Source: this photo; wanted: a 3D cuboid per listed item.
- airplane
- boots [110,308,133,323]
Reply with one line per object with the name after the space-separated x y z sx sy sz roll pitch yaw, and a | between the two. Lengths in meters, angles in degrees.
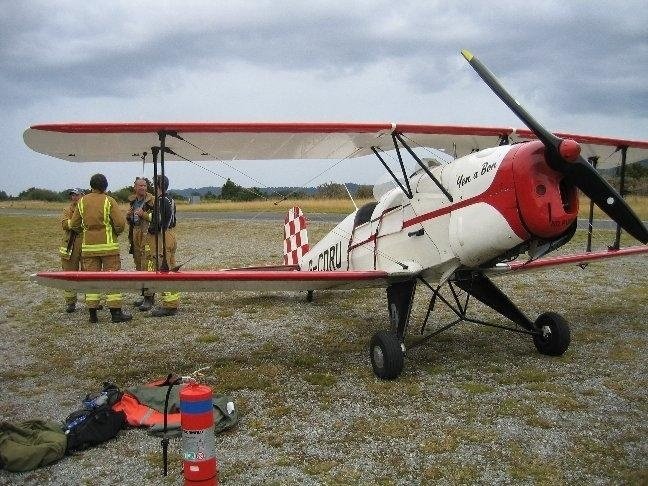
0.608 -0.298 6.453 5.399 1.753 4.344 -1 -1 -31 | airplane
-2.784 0.988 7.429 0.360 0.207 0.139 -1 3 -24 | boots
